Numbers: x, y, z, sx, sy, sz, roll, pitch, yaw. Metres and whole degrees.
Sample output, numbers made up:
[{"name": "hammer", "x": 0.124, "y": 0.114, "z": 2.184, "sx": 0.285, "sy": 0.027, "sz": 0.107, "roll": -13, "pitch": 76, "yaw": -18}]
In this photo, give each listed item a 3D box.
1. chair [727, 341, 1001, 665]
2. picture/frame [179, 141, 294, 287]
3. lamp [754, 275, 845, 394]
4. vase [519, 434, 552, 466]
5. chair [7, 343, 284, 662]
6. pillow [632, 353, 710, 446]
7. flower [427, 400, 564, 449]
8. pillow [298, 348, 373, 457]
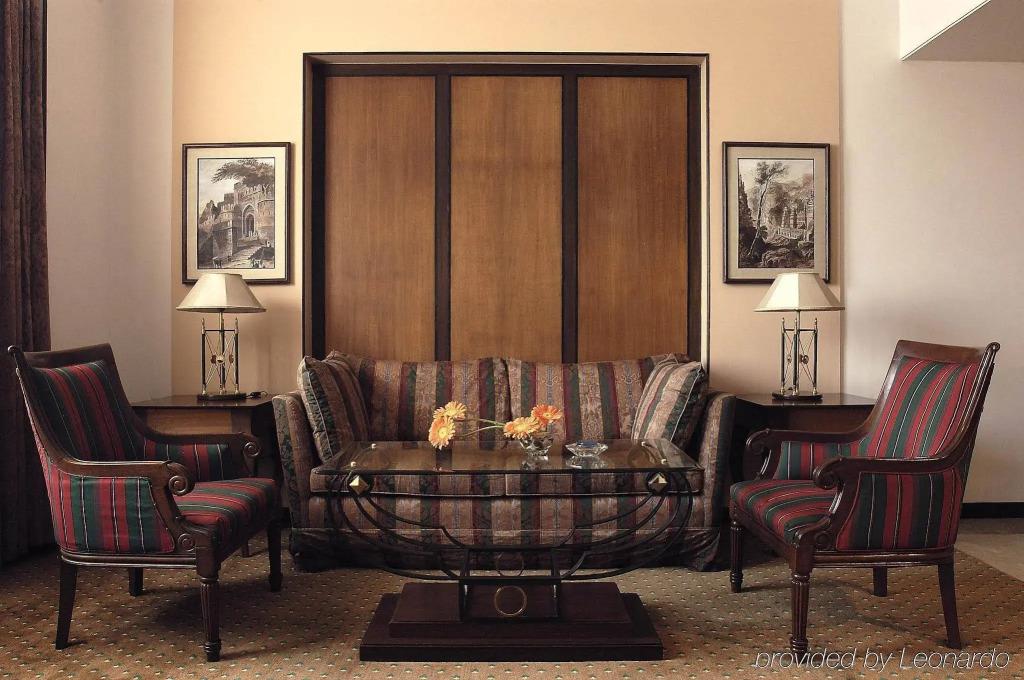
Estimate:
[{"name": "chair", "x": 1.852, "y": 0.761, "z": 4.562, "sx": 1.222, "sy": 1.538, "sz": 0.789, "roll": -2, "pitch": 10, "yaw": -5}, {"name": "picture/frame", "x": -1.834, "y": -0.856, "z": 5.758, "sx": 0.726, "sy": 0.919, "sz": 0.201, "roll": 0, "pitch": 11, "yaw": 5}, {"name": "lamp", "x": 1.865, "y": -0.027, "z": 5.569, "sx": 0.610, "sy": 0.761, "sz": 0.581, "roll": 1, "pitch": -2, "yaw": -8}, {"name": "vase", "x": 0.127, "y": 0.563, "z": 4.447, "sx": 0.146, "sy": 0.103, "sz": 0.138, "roll": -3, "pitch": 4, "yaw": -41}, {"name": "chair", "x": -1.952, "y": 0.768, "z": 4.550, "sx": 1.222, "sy": 1.534, "sz": 0.814, "roll": 1, "pitch": 10, "yaw": 8}, {"name": "pillow", "x": 0.954, "y": 0.375, "z": 5.193, "sx": 0.310, "sy": 0.469, "sz": 0.533, "roll": -8, "pitch": 3, "yaw": -15}, {"name": "flower", "x": -0.100, "y": 0.462, "z": 4.572, "sx": 0.590, "sy": 0.175, "sz": 0.361, "roll": 1, "pitch": -2, "yaw": 5}, {"name": "pillow", "x": -1.192, "y": 0.398, "z": 5.185, "sx": 0.178, "sy": 0.552, "sz": 0.576, "roll": -21, "pitch": 3, "yaw": 18}]
